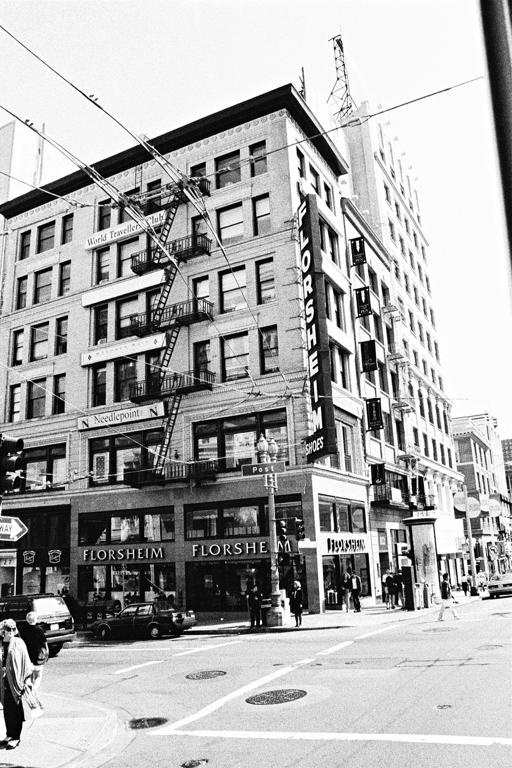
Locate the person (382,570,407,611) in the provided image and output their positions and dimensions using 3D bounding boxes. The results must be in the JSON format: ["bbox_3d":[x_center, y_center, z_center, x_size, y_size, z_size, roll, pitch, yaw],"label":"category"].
[{"bbox_3d":[5.519,8.287,31.879,0.715,1.453,2.325,-5,-17,8],"label":"person"}]

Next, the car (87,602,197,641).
[{"bbox_3d":[-3.679,7.867,26.011,2.848,1.021,1.386,-6,-27,14],"label":"car"}]

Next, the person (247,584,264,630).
[{"bbox_3d":[-0.037,7.406,26.207,0.370,1.336,0.808,-2,-16,-3],"label":"person"}]
